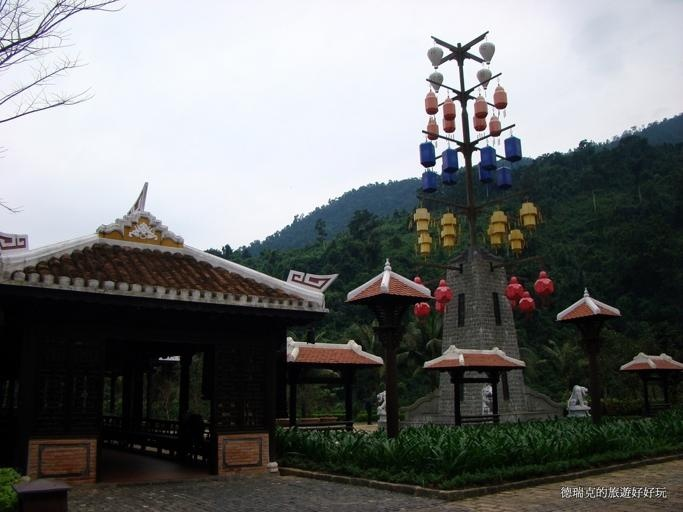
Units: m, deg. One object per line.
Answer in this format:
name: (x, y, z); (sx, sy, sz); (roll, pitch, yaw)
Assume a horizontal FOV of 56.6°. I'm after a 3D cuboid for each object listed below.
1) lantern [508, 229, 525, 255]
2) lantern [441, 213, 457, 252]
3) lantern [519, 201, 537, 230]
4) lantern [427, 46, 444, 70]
lantern: (6.282, -0.621, 22.656); (0.450, 0.967, 1.290); (-5, -15, 17)
lantern: (3.845, -1.018, 22.409); (0.569, 1.585, 1.501); (-3, -14, 8)
lantern: (6.442, -1.482, 21.653); (0.544, 0.888, 0.958); (-4, -15, 15)
lantern: (3.594, -7.514, 24.045); (0.498, 0.690, 0.620); (-1, -14, 2)
